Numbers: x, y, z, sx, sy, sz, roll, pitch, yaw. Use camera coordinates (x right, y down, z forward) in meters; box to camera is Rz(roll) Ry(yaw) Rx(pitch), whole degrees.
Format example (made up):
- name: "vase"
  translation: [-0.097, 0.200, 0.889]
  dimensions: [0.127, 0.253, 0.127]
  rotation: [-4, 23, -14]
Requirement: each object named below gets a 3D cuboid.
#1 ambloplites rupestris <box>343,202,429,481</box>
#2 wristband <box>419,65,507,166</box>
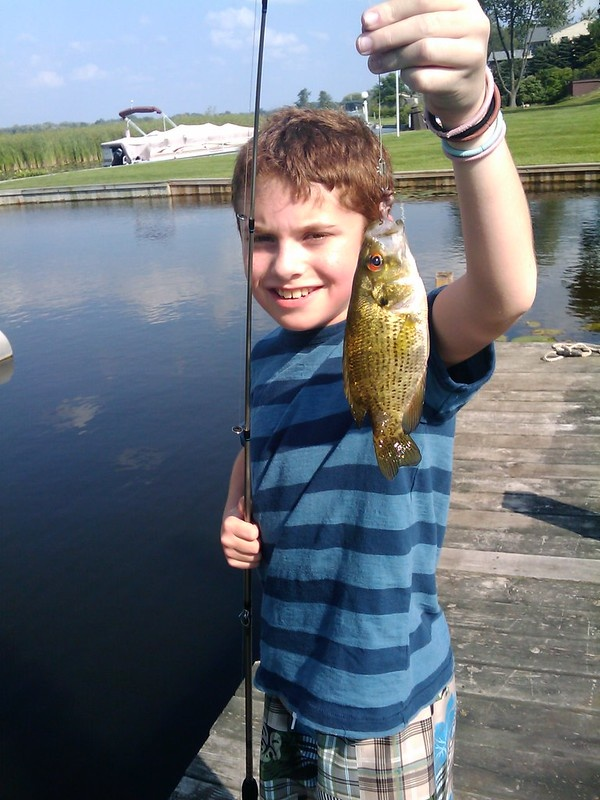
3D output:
- name: "ambloplites rupestris"
  translation: [0.130, -0.057, 0.907]
  dimensions: [0.134, 0.372, 0.121]
  rotation: [-11, 16, -18]
- name: "wristband"
  translation: [0.191, -0.319, 0.782]
  dimensions: [0.090, 0.099, 0.063]
  rotation: [-2, -5, 37]
